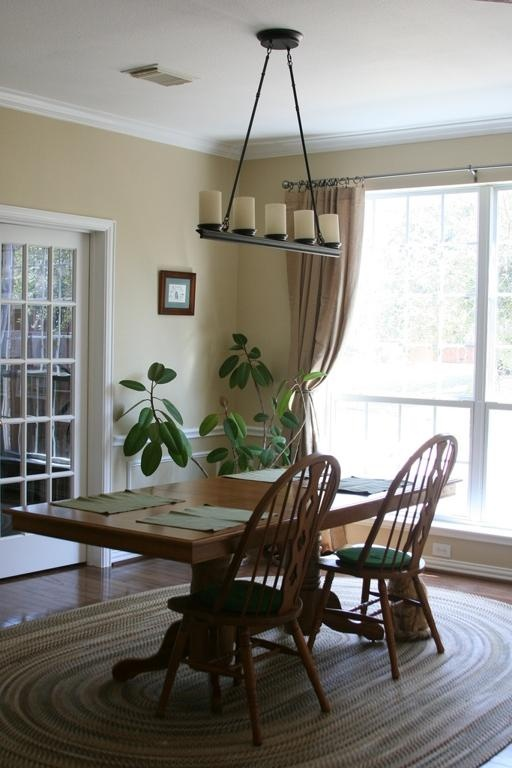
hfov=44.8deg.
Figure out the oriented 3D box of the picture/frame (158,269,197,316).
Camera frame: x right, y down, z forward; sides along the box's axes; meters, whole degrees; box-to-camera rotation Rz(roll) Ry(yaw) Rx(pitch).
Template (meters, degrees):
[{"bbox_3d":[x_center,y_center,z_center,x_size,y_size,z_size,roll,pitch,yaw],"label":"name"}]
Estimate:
[{"bbox_3d":[-0.581,-0.667,4.500,0.039,0.332,0.350,4,6,42],"label":"picture/frame"}]
